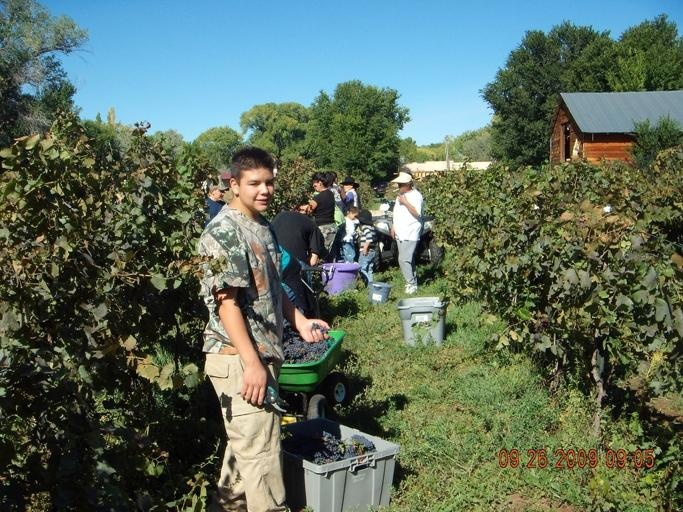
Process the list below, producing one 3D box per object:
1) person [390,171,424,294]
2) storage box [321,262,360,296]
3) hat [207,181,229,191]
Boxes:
[{"bbox_3d":[1.381,-0.525,11.034,0.659,2.153,1.120,-9,-4,6],"label":"person"},{"bbox_3d":[-0.046,0.437,10.712,0.616,0.506,0.670,-1,-1,5],"label":"storage box"},{"bbox_3d":[-1.677,-0.955,7.279,0.327,0.152,0.227,1,6,-3],"label":"hat"}]
